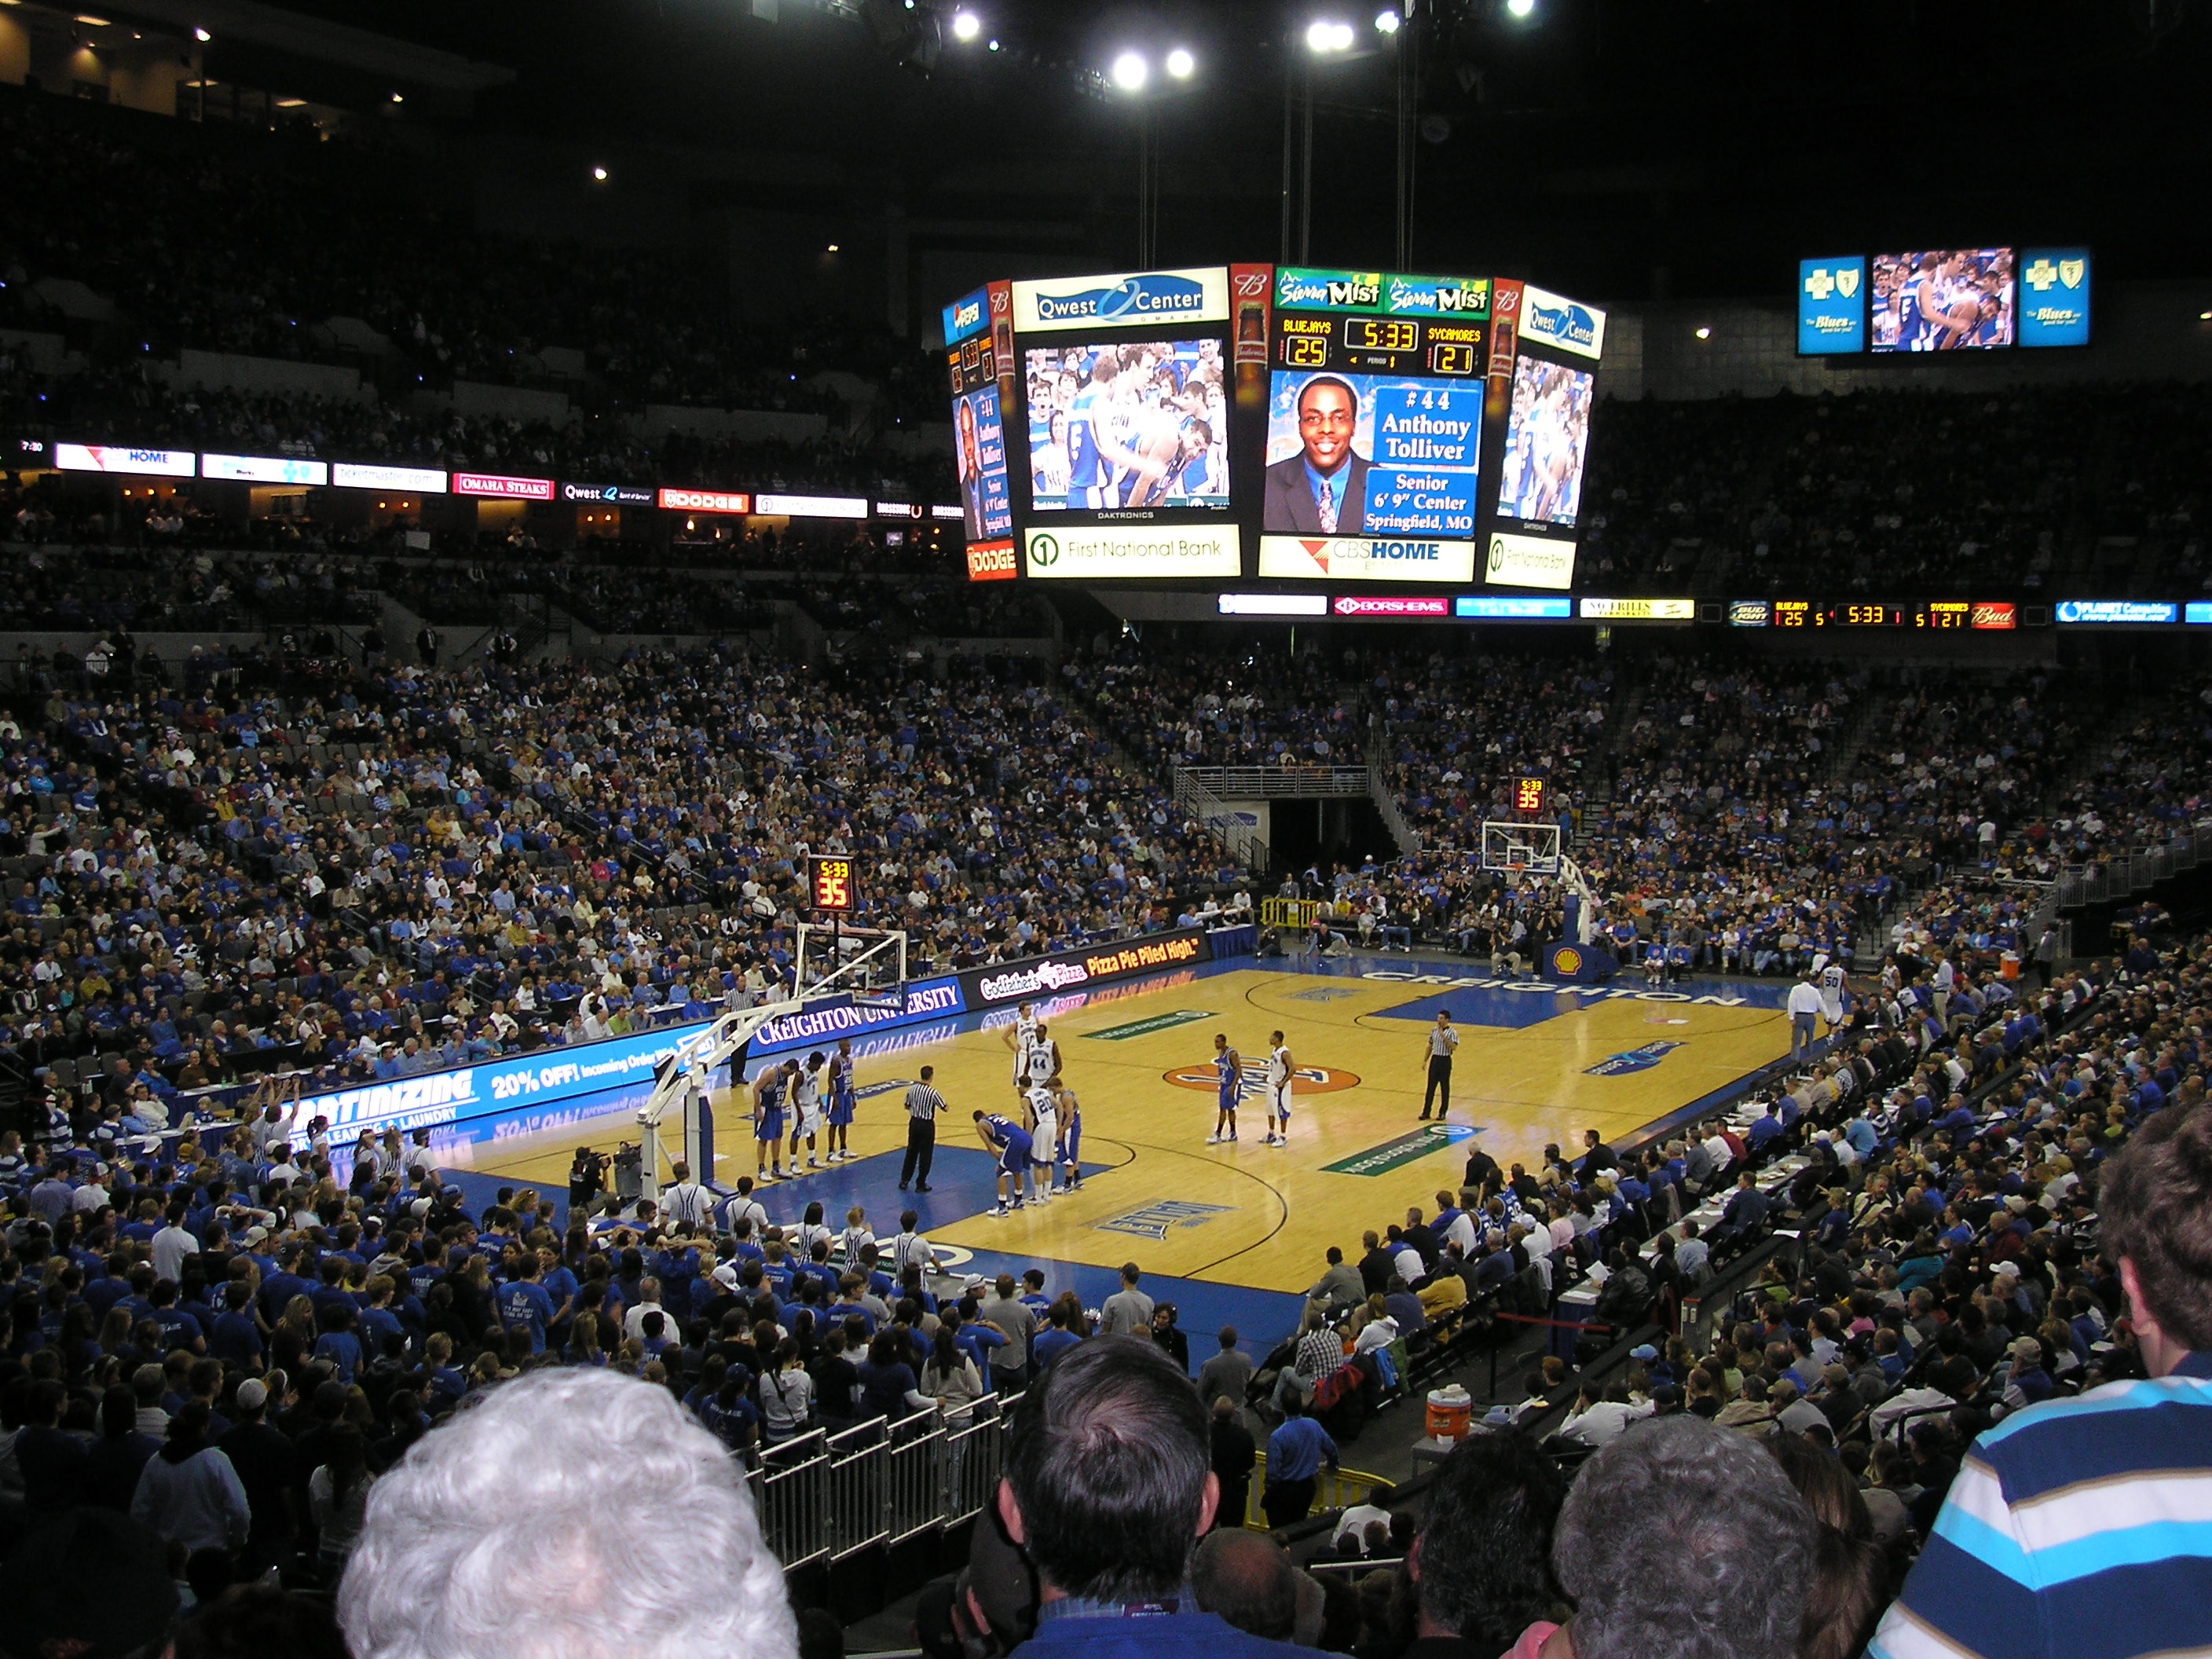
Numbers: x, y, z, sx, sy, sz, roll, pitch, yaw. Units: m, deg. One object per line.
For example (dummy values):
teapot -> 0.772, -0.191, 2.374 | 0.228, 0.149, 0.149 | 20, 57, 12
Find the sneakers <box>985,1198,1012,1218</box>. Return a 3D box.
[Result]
sneakers -> -1.201, 4.243, 23.011 | 0.266, 0.203, 0.116 | 6, 6, 33
